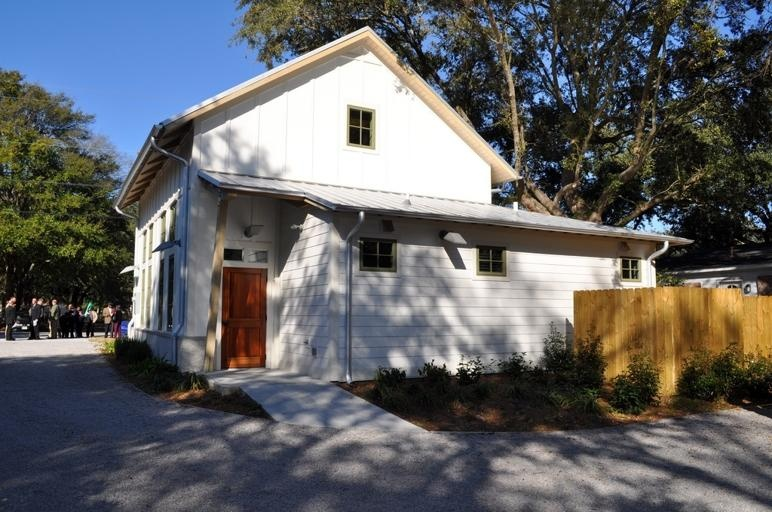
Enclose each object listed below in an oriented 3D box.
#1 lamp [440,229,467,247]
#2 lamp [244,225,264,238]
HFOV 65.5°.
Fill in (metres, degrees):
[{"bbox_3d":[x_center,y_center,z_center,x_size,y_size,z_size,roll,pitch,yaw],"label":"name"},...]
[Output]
[{"bbox_3d":[2.062,-0.331,17.699,0.863,0.462,0.431,-4,10,-29],"label":"lamp"},{"bbox_3d":[-4.093,-0.574,18.479,0.344,0.290,0.459,2,0,-45],"label":"lamp"}]
